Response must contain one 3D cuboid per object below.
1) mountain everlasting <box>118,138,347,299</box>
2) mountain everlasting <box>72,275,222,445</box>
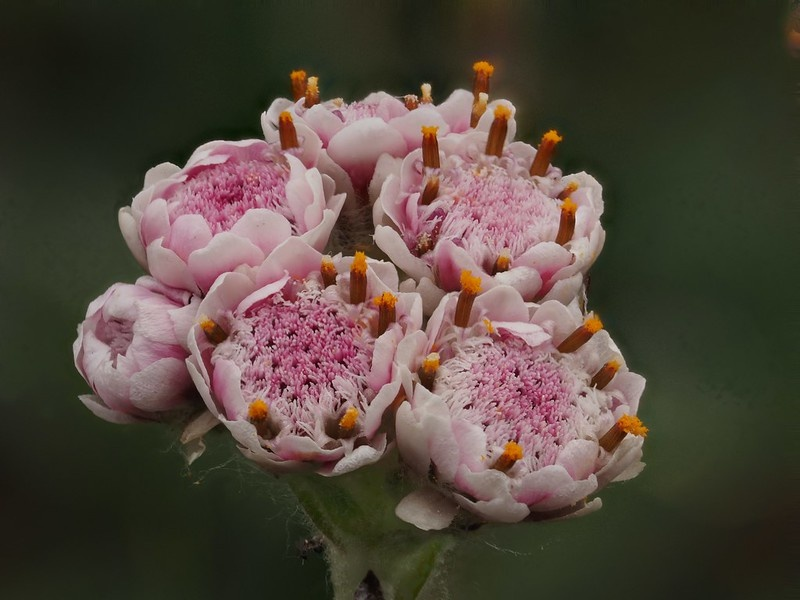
[{"bbox_3d":[-0.218,-0.112,1.374,0.221,0.139,0.246,-19,22,14],"label":"mountain everlasting"},{"bbox_3d":[-0.314,0.066,1.351,0.135,0.173,0.162,-27,-22,38],"label":"mountain everlasting"}]
